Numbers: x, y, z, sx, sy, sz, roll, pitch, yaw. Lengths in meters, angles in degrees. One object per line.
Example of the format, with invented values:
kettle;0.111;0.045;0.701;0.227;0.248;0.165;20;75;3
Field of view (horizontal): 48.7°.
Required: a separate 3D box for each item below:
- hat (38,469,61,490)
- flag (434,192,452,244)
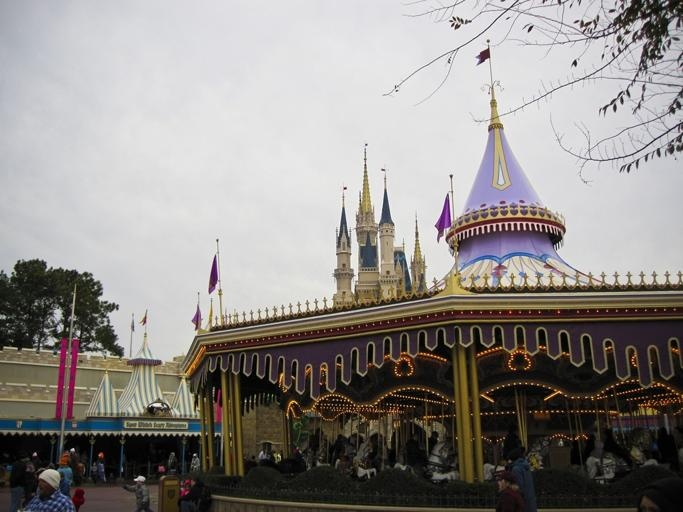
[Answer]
hat;-5.182;3.946;13.499;0.363;0.346;0.277;34;-29;-34
flag;3.116;-1.288;22.792;0.496;0.130;1.694;-9;-54;-11
